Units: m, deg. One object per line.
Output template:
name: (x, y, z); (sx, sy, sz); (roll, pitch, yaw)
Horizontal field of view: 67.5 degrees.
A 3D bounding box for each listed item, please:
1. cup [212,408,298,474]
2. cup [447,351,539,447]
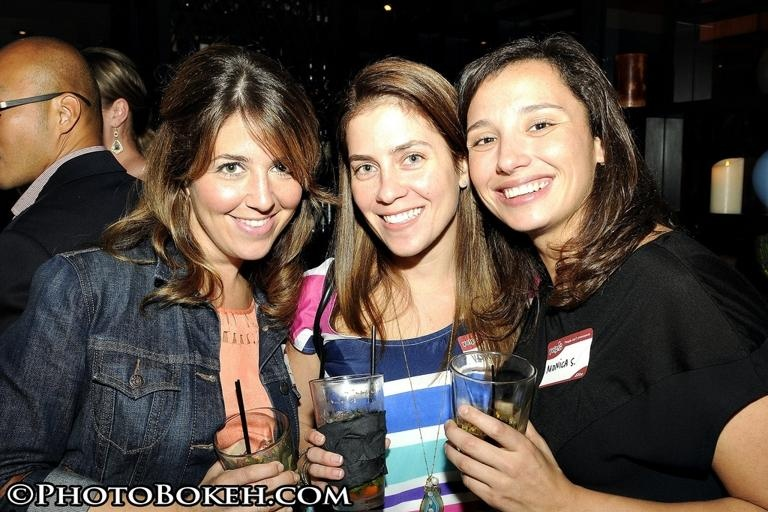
cup: (-0.523, 0.727, 2.314); (0.252, 0.238, 0.284); (-5, -11, -2)
cup: (0.420, 0.535, 2.262); (0.307, 0.283, 0.342); (0, 2, -2)
